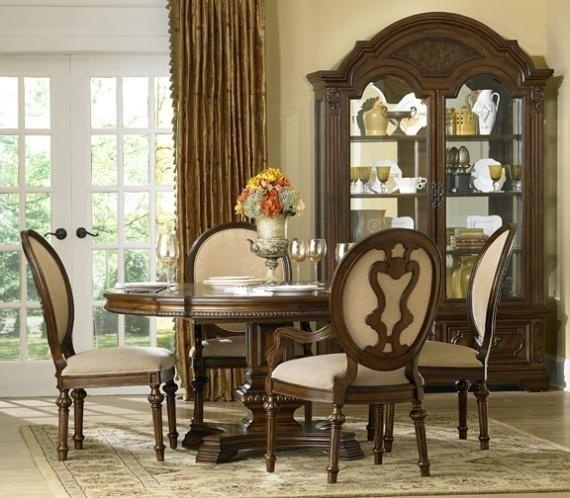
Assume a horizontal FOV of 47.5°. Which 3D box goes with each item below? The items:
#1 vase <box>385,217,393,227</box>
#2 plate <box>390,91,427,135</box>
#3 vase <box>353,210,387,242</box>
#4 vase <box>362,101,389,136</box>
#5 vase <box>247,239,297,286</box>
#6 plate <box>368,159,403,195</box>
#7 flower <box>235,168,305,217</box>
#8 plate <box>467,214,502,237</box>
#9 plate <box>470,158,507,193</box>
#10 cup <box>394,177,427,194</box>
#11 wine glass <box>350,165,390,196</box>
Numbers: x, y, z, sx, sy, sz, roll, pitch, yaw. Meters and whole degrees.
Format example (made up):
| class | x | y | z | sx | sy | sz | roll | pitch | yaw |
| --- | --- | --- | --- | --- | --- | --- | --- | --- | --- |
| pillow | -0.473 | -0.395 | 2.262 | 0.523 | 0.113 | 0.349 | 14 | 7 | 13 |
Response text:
| class | x | y | z | sx | sy | sz | roll | pitch | yaw |
| --- | --- | --- | --- | --- | --- | --- | --- | --- | --- |
| vase | 0.692 | -0.184 | 4.426 | 0.071 | 0.081 | 0.061 | 0 | 6 | -11 |
| plate | 0.860 | -0.921 | 4.404 | 0.284 | 0.199 | 0.255 | 4 | 3 | 44 |
| vase | 0.530 | -0.153 | 4.311 | 0.270 | 0.191 | 0.207 | -1 | -3 | 15 |
| vase | 0.560 | -0.902 | 4.464 | 0.222 | 0.250 | 0.214 | 1 | 7 | -2 |
| vase | -0.074 | 0.048 | 3.155 | 0.291 | 0.255 | 0.217 | -1 | -1 | -3 |
| plate | 0.671 | -0.491 | 4.397 | 0.210 | 0.167 | 0.228 | 1 | -9 | 1 |
| flower | -0.084 | -0.240 | 3.094 | 0.326 | 0.253 | 0.293 | -8 | 12 | -38 |
| plate | 1.379 | -0.184 | 4.507 | 0.214 | 0.202 | 0.054 | -4 | -3 | -8 |
| plate | 1.387 | -0.502 | 4.453 | 0.248 | 0.234 | 0.042 | -14 | -1 | -13 |
| cup | 0.847 | -0.437 | 4.421 | 0.174 | 0.080 | 0.107 | 4 | 2 | 14 |
| wine glass | 0.570 | -0.461 | 4.377 | 0.227 | 0.159 | 0.202 | 0 | 0 | 27 |
